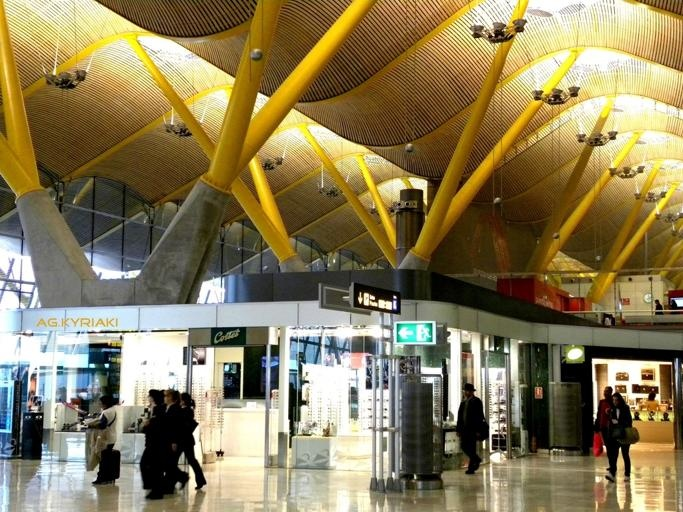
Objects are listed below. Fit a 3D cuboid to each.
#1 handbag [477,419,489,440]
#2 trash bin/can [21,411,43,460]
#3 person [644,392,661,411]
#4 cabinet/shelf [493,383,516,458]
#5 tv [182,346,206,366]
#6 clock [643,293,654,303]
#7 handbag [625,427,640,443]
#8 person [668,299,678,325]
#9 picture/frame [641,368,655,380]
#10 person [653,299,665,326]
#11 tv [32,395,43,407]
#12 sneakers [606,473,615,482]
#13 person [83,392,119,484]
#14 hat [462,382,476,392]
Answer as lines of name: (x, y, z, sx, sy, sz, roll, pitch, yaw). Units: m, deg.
handbag: (3.606, 4.364, 16.450, 0.187, 0.493, 0.379, -9, -19, 29)
trash bin/can: (-8.753, 5.065, 18.410, 0.644, 1.250, 0.501, 2, -17, -4)
person: (13.349, 6.255, 27.936, 0.626, 0.808, 0.168, -7, -18, 23)
cabinet/shelf: (4.844, 4.959, 19.823, 0.514, 2.135, 1.304, -8, -19, 26)
tv: (-3.998, 2.768, 17.989, 0.762, 0.745, 0.464, 1, 14, -6)
clock: (13.663, 1.825, 28.868, 0.357, 0.405, 0.139, -7, -18, 24)
handbag: (6.887, 4.205, 15.311, 0.231, 0.344, 0.985, -8, -19, 26)
person: (15.010, 2.495, 29.241, 0.412, 1.076, 0.774, -8, -19, 27)
picture/frame: (13.336, 5.128, 28.280, 0.465, 0.474, 0.116, -1, -7, 13)
person: (14.207, 2.459, 29.002, 0.387, 0.968, 0.990, -7, -18, 24)
tv: (-8.636, 4.141, 18.461, 0.296, 0.406, 0.078, -6, -18, 21)
sneakers: (6.334, 5.204, 15.267, 0.109, 0.142, 0.353, 1, -2, -8)
person: (-5.180, 3.994, 14.149, 0.654, 1.829, 0.799, 6, -17, -17)
hat: (3.217, 3.331, 16.419, 0.325, 0.130, 0.336, 3, 2, 32)
